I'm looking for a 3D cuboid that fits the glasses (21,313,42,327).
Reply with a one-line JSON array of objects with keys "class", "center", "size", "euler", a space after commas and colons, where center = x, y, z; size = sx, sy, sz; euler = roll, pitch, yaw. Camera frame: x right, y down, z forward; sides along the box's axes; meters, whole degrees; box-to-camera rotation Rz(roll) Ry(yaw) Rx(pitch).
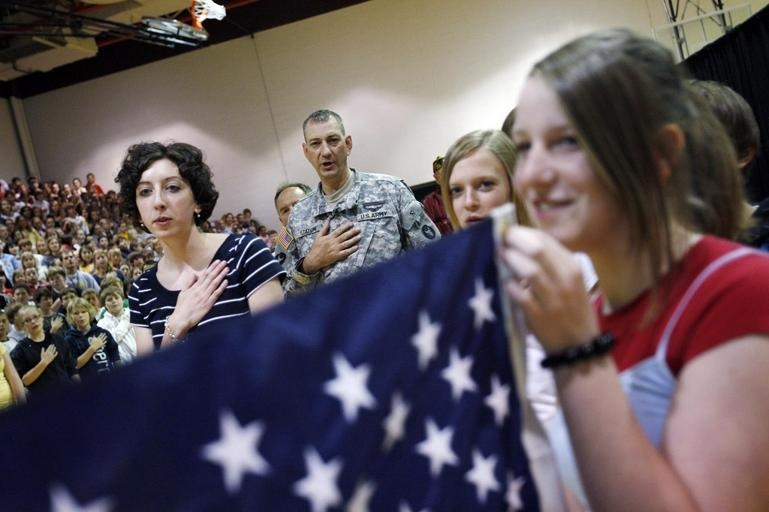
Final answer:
[{"class": "glasses", "center": [-2.940, 0.534, 4.781], "size": [0.079, 0.113, 0.047], "euler": [-1, 13, -20]}]
